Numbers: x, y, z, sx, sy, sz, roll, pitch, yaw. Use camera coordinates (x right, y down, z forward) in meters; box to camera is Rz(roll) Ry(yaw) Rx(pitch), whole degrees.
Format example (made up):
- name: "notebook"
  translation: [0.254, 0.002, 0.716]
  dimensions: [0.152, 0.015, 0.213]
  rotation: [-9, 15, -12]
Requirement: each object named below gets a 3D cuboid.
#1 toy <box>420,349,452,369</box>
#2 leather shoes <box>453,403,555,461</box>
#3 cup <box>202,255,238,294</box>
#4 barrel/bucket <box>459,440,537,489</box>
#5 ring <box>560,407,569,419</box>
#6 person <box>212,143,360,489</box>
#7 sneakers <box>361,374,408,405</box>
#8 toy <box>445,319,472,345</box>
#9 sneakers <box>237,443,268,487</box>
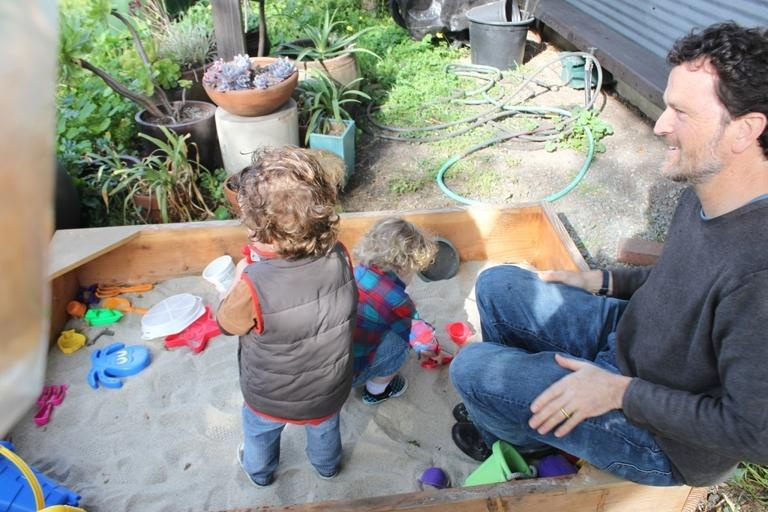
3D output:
- name: "toy"
  translation: [0.254, 0.528, 2.859]
  dimensions: [0.227, 0.076, 0.096]
  rotation: [1, 11, 6]
- name: "leather shoes"
  translation: [0.459, 0.808, 2.544]
  dimensions: [0.218, 0.081, 0.282]
  rotation: [16, 25, -24]
- name: "cup"
  translation: [-0.924, 0.106, 3.120]
  dimensions: [0.139, 0.109, 0.145]
  rotation: [-29, 28, 18]
- name: "barrel/bucket"
  translation: [0.489, 0.888, 2.320]
  dimensions: [0.152, 0.184, 0.130]
  rotation: [53, 26, 11]
- name: "ring"
  translation: [0.674, 0.590, 2.051]
  dimensions: [0.008, 0.035, 0.035]
  rotation: [-35, 21, -11]
- name: "person"
  translation: [-0.364, 0.294, 2.280]
  dimensions: [0.518, 1.317, 0.723]
  rotation: [2, 40, 7]
- name: "sneakers"
  translation: [0.017, 0.687, 2.818]
  dimensions: [0.247, 0.105, 0.101]
  rotation: [-30, 45, -25]
- name: "toy"
  translation: [0.409, 0.429, 3.021]
  dimensions: [0.122, 0.082, 0.109]
  rotation: [-28, 63, -9]
- name: "sneakers"
  translation: [-0.564, 0.917, 2.393]
  dimensions: [0.073, 0.084, 0.213]
  rotation: [-37, 90, -19]
